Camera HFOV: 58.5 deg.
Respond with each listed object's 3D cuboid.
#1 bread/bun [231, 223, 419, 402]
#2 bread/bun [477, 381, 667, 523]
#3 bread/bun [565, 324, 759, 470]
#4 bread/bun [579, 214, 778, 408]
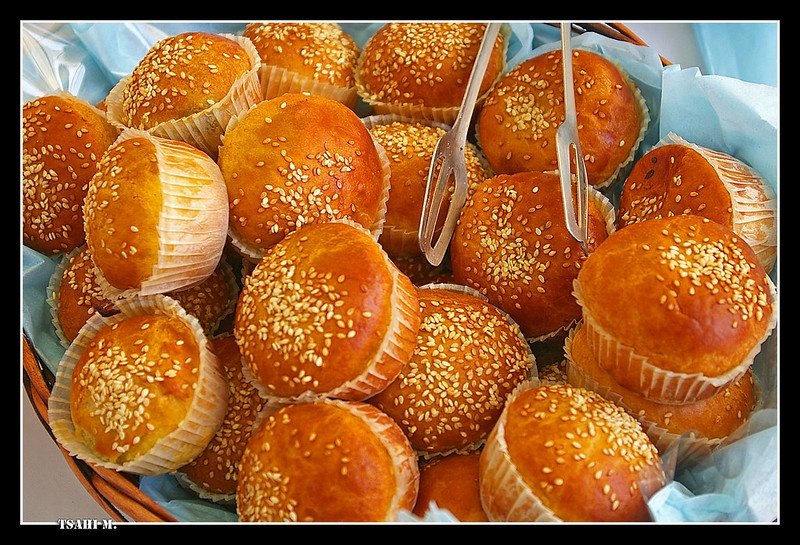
[{"bbox_3d":[-0.246,0.140,2.478,0.628,0.293,0.568,-2,60,-4],"label":"bread/bun"},{"bbox_3d":[0.541,0.588,2.254,0.461,0.282,0.462,34,37,-6],"label":"bread/bun"},{"bbox_3d":[0.903,0.413,2.503,0.488,0.265,0.535,-13,59,-7],"label":"bread/bun"},{"bbox_3d":[0.923,0.110,2.473,0.625,0.461,0.635,5,44,12],"label":"bread/bun"}]
